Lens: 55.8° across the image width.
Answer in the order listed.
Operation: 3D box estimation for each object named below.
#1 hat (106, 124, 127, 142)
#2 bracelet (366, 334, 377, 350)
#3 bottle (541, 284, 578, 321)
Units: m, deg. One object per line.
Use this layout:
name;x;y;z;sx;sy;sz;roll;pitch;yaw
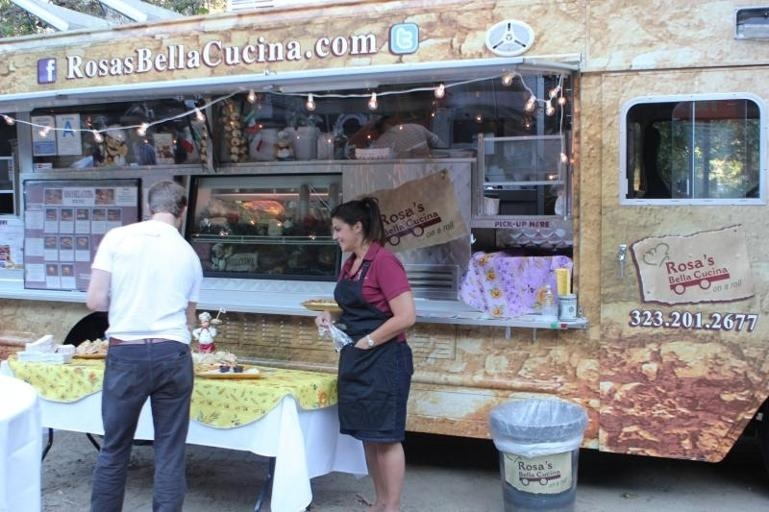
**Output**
hat;-2.655;-1.203;7.152;0.162;0.157;0.324;-5;9;-25
bracelet;-0.101;0.583;4.933;0.057;0.083;0.085;-3;4;-12
bottle;1.339;0.375;5.613;0.275;0.251;0.174;-8;-1;34
